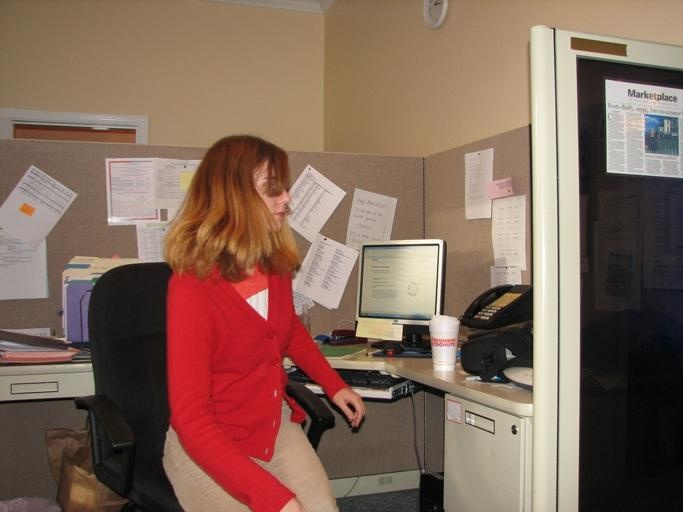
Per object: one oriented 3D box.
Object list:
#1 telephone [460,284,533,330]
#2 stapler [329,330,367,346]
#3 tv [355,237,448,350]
[{"bbox_3d":[0.606,0.199,2.277,0.280,0.151,0.294,-9,-2,45],"label":"telephone"},{"bbox_3d":[0.019,0.362,2.634,0.128,0.049,0.072,0,-4,-13],"label":"stapler"},{"bbox_3d":[0.256,0.165,2.476,0.382,0.465,0.196,-6,-14,35],"label":"tv"}]
